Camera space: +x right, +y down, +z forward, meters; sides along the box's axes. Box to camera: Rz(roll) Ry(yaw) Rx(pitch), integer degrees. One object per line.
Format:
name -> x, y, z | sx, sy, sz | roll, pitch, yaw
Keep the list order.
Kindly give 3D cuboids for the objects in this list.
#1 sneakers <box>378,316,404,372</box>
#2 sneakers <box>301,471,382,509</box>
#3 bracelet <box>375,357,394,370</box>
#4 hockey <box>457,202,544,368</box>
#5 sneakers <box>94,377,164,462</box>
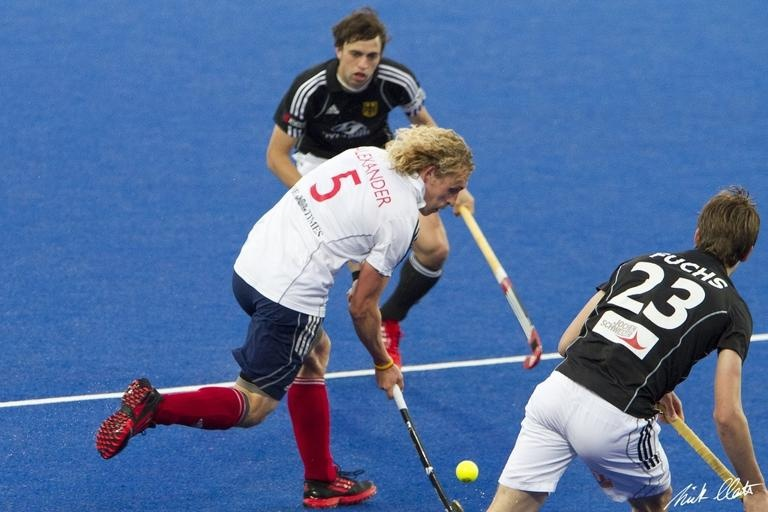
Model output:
sneakers -> 0.075, 0.679, 7.548 | 0.162, 0.377, 0.127 | -22, -6, 15
sneakers -> -0.296, 1.594, 6.838 | 0.497, 0.241, 0.199 | -4, 4, -13
bracelet -> 0.009, 0.744, 6.776 | 0.098, 0.037, 0.088 | -18, 15, 32
hockey -> 0.923, 0.263, 7.362 | 0.120, 0.319, 2.241 | -25, 37, 5
sneakers -> -1.579, 1.004, 6.222 | 0.281, 0.625, 0.241 | 33, 6, -35
